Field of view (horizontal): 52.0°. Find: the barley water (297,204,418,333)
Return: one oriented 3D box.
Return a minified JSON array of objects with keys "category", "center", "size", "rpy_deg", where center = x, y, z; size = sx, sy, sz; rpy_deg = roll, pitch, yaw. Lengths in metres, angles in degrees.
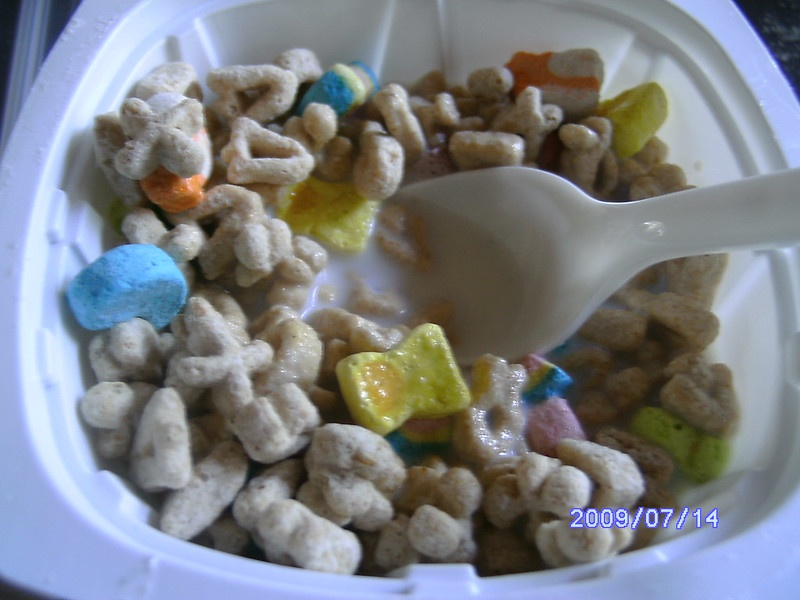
[{"category":"barley water","center":[-0.046,-0.051,1.073],"size":[0.148,0.039,0.150],"rpy_deg":[-13,75,-1]}]
